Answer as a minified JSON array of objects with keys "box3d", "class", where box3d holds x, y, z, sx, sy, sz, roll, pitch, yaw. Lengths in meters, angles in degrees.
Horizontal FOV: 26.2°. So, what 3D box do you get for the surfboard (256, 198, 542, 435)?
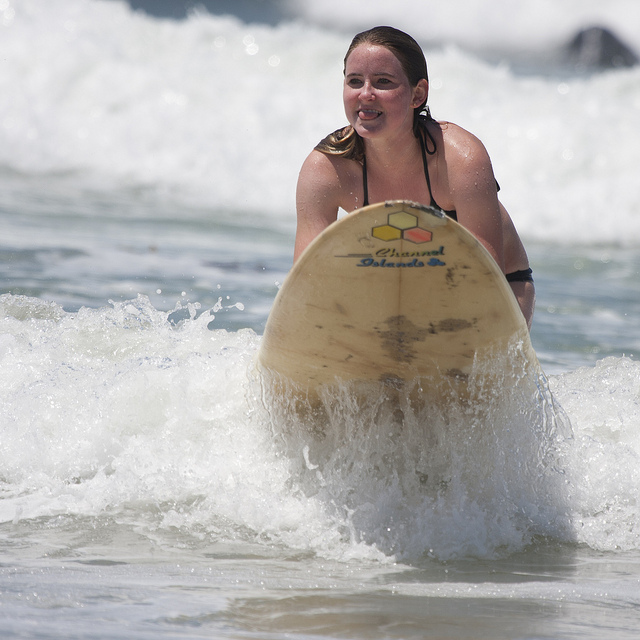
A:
[{"box3d":[0.342,-0.092,5.788,0.999,0.280,1.711,11,-23,2],"class":"surfboard"}]
